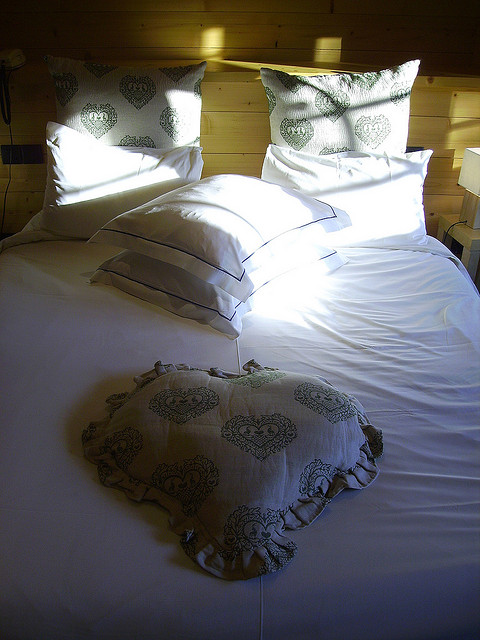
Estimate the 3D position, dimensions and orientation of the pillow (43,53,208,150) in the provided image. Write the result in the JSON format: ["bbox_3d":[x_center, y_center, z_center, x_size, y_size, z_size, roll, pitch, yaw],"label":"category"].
[{"bbox_3d":[-0.422,-0.831,1.947,0.594,0.369,0.170,0,5,-6],"label":"pillow"}]

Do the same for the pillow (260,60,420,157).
[{"bbox_3d":[0.372,-0.812,1.952,0.577,0.469,0.204,1,9,4],"label":"pillow"}]

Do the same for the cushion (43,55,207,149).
[{"bbox_3d":[-0.433,-0.813,1.987,0.601,0.329,0.169,-4,22,-16],"label":"cushion"}]

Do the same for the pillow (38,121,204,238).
[{"bbox_3d":[-0.417,-0.481,1.763,0.607,0.352,0.179,2,-1,0],"label":"pillow"}]

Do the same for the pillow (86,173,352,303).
[{"bbox_3d":[-0.029,-0.325,1.575,0.566,0.164,0.608,22,38,25],"label":"pillow"}]

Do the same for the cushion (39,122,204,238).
[{"bbox_3d":[-0.437,-0.499,1.907,0.638,0.357,0.193,9,7,2],"label":"cushion"}]

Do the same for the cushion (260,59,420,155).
[{"bbox_3d":[0.372,-0.818,1.954,0.569,0.463,0.196,0,12,4],"label":"cushion"}]

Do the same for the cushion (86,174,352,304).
[{"bbox_3d":[-0.042,-0.343,1.587,0.577,0.157,0.643,29,43,34],"label":"cushion"}]

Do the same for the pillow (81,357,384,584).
[{"bbox_3d":[-0.046,0.203,0.817,0.349,0.078,0.349,30,43,31],"label":"pillow"}]

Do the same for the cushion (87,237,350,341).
[{"bbox_3d":[-0.097,-0.231,1.612,0.564,0.154,0.587,22,38,31],"label":"cushion"}]
